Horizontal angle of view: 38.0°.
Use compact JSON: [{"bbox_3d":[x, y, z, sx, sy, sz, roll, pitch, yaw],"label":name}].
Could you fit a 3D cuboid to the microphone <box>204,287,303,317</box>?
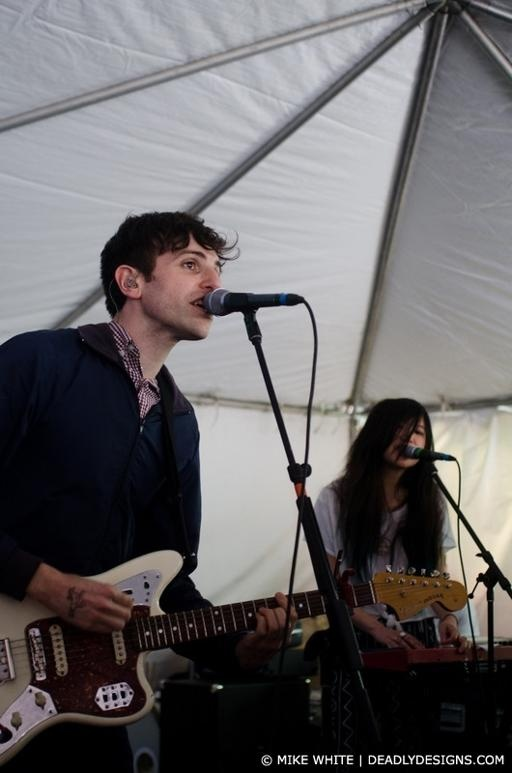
[{"bbox_3d":[-0.022,-0.245,2.166,0.170,0.076,0.347,1,6,-31],"label":"microphone"}]
